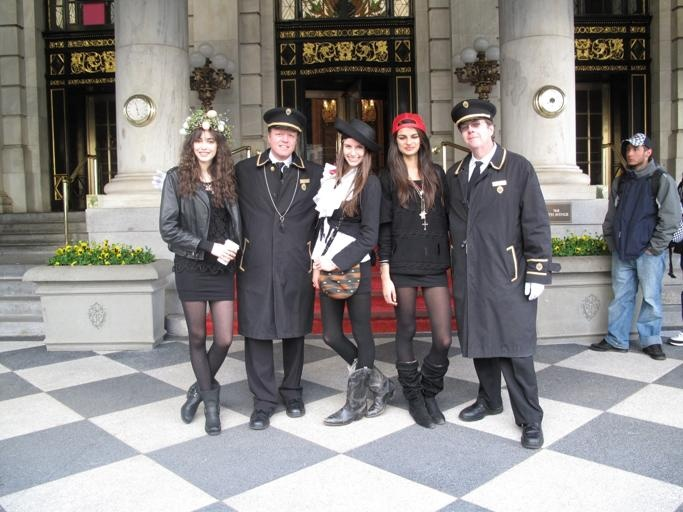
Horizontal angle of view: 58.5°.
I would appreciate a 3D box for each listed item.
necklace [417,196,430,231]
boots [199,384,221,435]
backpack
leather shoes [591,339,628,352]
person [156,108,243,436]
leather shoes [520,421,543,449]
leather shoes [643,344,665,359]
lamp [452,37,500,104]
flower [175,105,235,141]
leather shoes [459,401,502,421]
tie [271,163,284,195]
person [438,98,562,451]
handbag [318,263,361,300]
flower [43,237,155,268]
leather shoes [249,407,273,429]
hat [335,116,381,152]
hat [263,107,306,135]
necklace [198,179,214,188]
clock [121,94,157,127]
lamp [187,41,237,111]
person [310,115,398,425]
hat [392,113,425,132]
[{"bbox_3d":[0.663,-0.335,4.914,0.065,0.254,0.047,1,10,12],"label":"necklace"},{"bbox_3d":[-1.056,1.246,4.938,0.144,0.284,0.360,-4,11,-14],"label":"boots"},{"bbox_3d":[3.283,-0.493,6.592,0.689,0.940,0.339,6,13,34],"label":"backpack"},{"bbox_3d":[2.946,1.002,6.693,0.321,0.136,0.149,8,-3,15],"label":"leather shoes"},{"bbox_3d":[-1.111,0.109,4.958,0.647,2.537,0.656,-4,11,-15],"label":"person"},{"bbox_3d":[1.447,1.354,4.596,0.168,0.140,0.192,1,11,13],"label":"leather shoes"},{"bbox_3d":[3.323,1.014,6.473,0.224,0.116,0.298,4,12,27],"label":"leather shoes"},{"bbox_3d":[2.529,-3.502,11.454,0.762,1.113,0.939,0,11,4],"label":"lamp"},{"bbox_3d":[-1.144,-1.025,5.070,0.380,0.210,0.349,-18,-9,-28],"label":"flower"},{"bbox_3d":[1.140,1.263,5.066,0.385,0.150,0.141,-1,-3,-23],"label":"leather shoes"},{"bbox_3d":[-0.513,-0.637,5.029,0.086,0.219,0.159,9,11,2],"label":"tie"},{"bbox_3d":[1.199,0.099,4.723,0.869,2.565,0.570,5,12,28],"label":"person"},{"bbox_3d":[-0.005,0.192,4.967,0.364,0.164,0.490,-3,29,14],"label":"handbag"},{"bbox_3d":[-2.862,-0.058,7.497,1.194,0.256,1.120,1,11,13],"label":"flower"},{"bbox_3d":[-0.649,1.324,4.945,0.124,0.120,0.334,1,-3,-3],"label":"leather shoes"},{"bbox_3d":[0.114,-1.019,4.928,0.322,0.135,0.357,15,-2,-43],"label":"hat"},{"bbox_3d":[-0.472,-1.123,5.036,0.320,0.212,0.257,-2,11,-8],"label":"hat"},{"bbox_3d":[-1.090,-0.584,4.923,0.060,0.060,0.076,5,21,14],"label":"necklace"},{"bbox_3d":[-2.817,-2.025,8.447,0.417,0.412,0.094,5,2,2],"label":"clock"},{"bbox_3d":[-2.491,-3.432,11.731,0.816,1.238,0.918,4,11,24],"label":"lamp"},{"bbox_3d":[0.087,0.135,4.986,0.660,2.449,0.550,-2,10,-3],"label":"person"},{"bbox_3d":[0.551,-1.097,4.993,0.199,0.250,0.254,2,12,3],"label":"hat"}]
